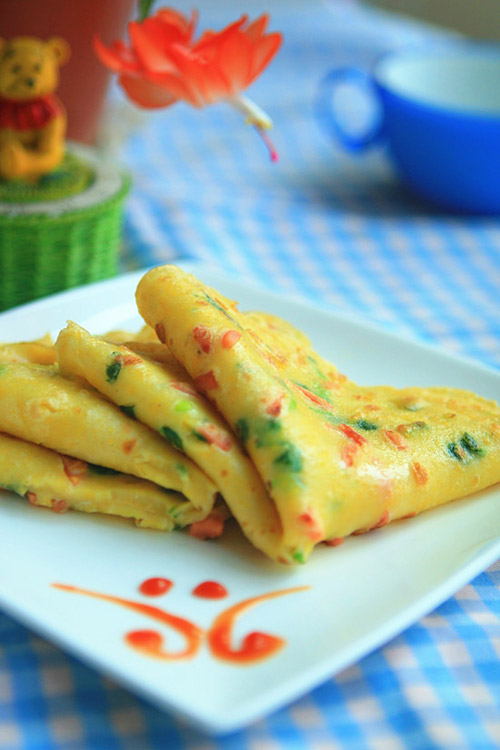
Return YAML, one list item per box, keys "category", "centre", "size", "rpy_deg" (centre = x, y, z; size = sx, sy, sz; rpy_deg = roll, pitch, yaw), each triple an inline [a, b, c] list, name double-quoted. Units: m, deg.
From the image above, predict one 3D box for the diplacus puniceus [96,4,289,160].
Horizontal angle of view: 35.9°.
- category: "diplacus puniceus"
  centre: [-0.080, -0.360, 0.937]
  size: [0.224, 0.084, 0.205]
  rpy_deg: [-2, -3, 32]
